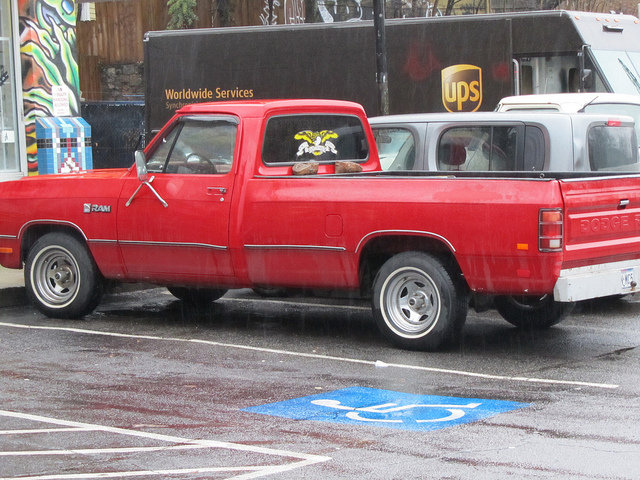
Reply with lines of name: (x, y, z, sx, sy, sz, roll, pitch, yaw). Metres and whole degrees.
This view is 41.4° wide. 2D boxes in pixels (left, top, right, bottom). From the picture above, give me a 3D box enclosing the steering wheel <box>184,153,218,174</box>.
steering wheel: (-1.374, -0.841, 9.439, 0.271, 0.108, 0.274, 13, 42, -12)
